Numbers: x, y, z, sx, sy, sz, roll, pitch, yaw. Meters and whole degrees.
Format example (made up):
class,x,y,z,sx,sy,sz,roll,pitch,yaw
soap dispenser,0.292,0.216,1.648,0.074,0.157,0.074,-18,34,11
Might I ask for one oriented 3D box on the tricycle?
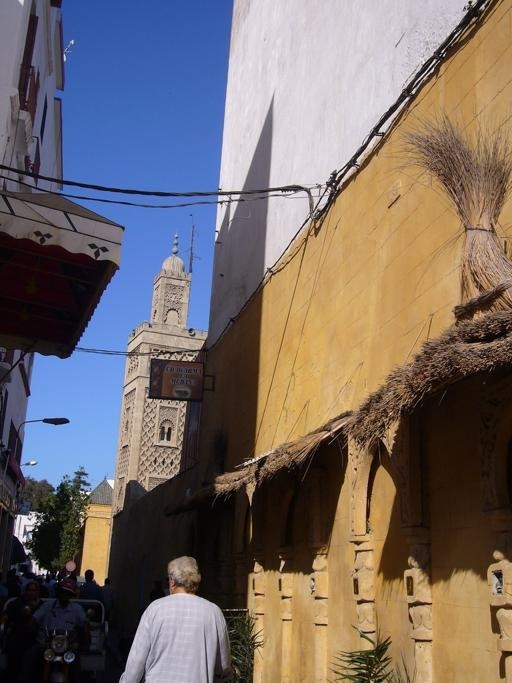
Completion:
class,x,y,z,sx,sy,sz,roll,pitch,yaw
tricycle,-2.014,2.941,6.998,1.011,1.034,0.953,2,-21,-8
